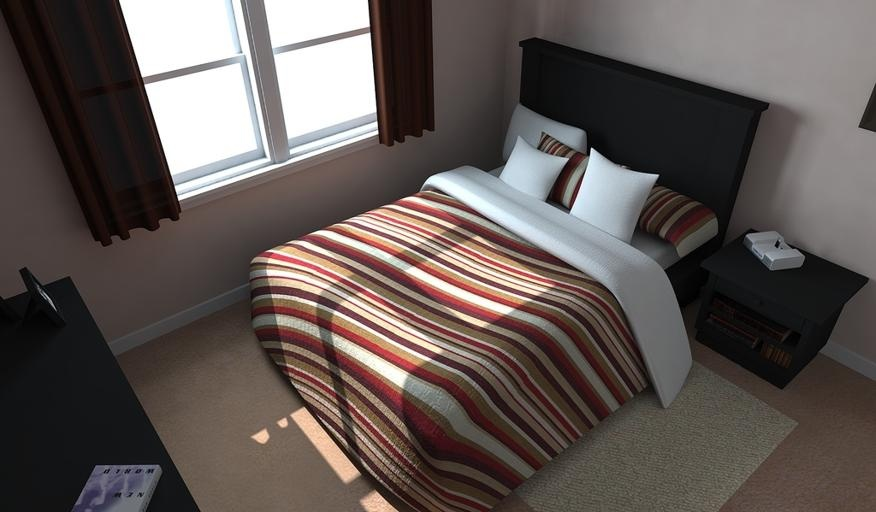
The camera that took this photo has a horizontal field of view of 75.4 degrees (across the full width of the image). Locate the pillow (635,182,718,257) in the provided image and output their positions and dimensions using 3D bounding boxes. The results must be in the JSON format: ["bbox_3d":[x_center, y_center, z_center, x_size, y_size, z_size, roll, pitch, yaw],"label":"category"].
[{"bbox_3d":[1.996,-0.322,4.909,0.668,0.297,0.604,-26,35,-9],"label":"pillow"}]

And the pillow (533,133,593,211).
[{"bbox_3d":[1.135,-0.740,5.093,0.617,0.193,0.580,31,89,20],"label":"pillow"}]

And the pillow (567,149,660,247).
[{"bbox_3d":[1.470,-0.456,4.769,0.651,0.559,0.340,30,44,28],"label":"pillow"}]
